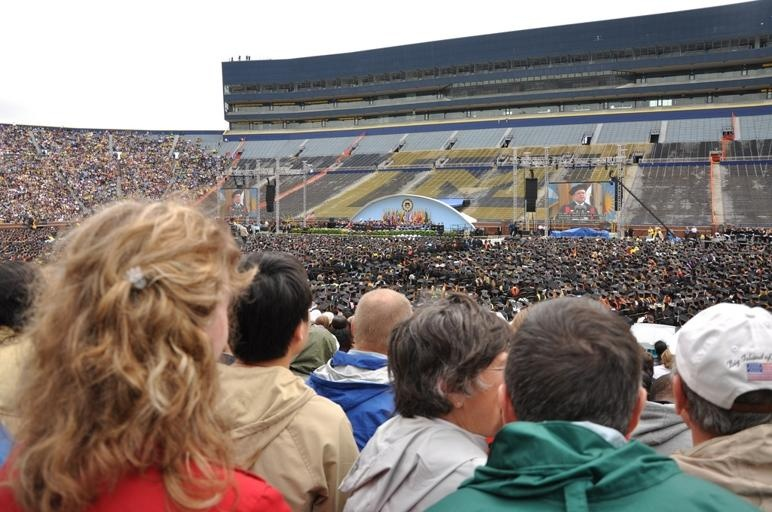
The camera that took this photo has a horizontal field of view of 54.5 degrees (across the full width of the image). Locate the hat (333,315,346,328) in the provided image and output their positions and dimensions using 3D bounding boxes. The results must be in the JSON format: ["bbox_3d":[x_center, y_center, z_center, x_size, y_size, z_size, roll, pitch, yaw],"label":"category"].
[{"bbox_3d":[-0.530,0.740,8.501,0.110,0.128,0.136,4,13,-6],"label":"hat"}]
